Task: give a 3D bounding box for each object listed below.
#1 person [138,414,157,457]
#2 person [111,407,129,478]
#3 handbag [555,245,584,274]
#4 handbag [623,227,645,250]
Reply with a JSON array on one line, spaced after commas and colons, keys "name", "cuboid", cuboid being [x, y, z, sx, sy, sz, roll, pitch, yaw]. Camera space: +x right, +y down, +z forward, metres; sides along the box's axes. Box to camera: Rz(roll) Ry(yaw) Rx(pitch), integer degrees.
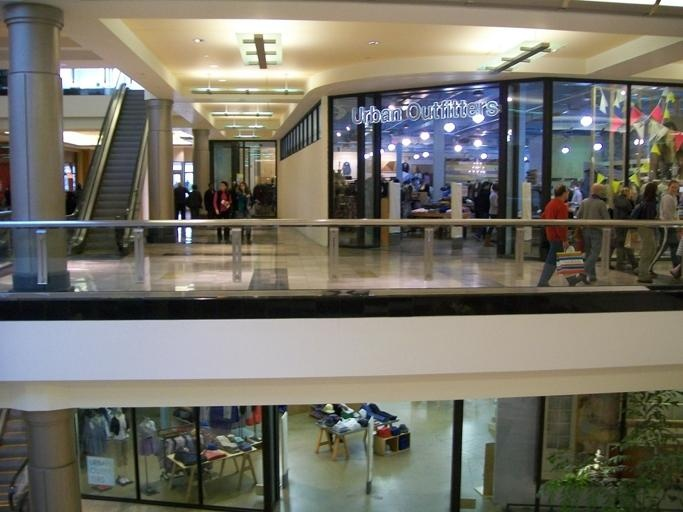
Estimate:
[{"name": "person", "cuboid": [-4.017, 3.781, 12.168, 0.430, 0.713, 0.381, -5, -7, 21]}, {"name": "person", "cuboid": [-4.596, 4.013, 12.141, 0.373, 1.639, 0.204, -1, 2, -12]}, {"name": "handbag", "cuboid": [3.107, 0.086, 7.942, 0.336, 0.394, 0.421, 0, -2, 2]}, {"name": "handbag", "cuboid": [3.994, -0.249, 7.976, 0.288, 0.307, 0.170, 5, 24, 23]}]
